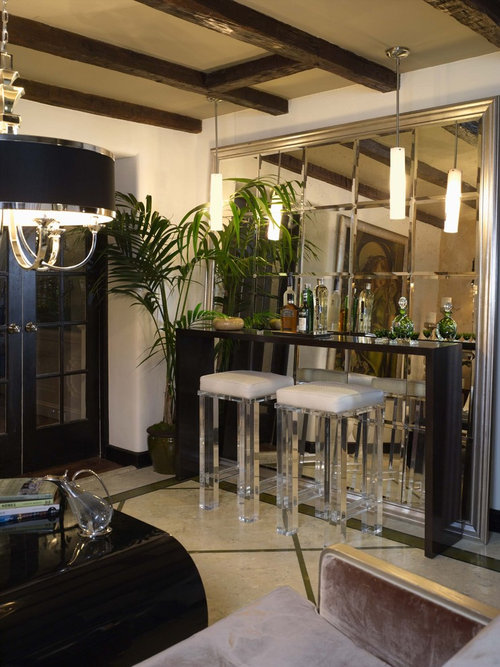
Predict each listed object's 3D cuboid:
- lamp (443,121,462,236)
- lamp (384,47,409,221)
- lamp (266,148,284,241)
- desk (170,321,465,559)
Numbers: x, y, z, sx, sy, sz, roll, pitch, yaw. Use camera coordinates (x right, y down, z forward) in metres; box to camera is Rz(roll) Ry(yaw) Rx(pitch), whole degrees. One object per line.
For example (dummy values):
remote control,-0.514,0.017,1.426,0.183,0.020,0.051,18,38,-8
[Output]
lamp,1.102,-0.851,2.952,0.055,0.592,0.109,0,2,-27
lamp,0.804,-1.081,2.962,0.124,0.881,0.508,2,2,16
lamp,0.155,-0.964,3.755,0.133,0.605,0.073,3,2,40
desk,0.283,0.535,3.350,1.900,1.087,0.534,3,3,41
